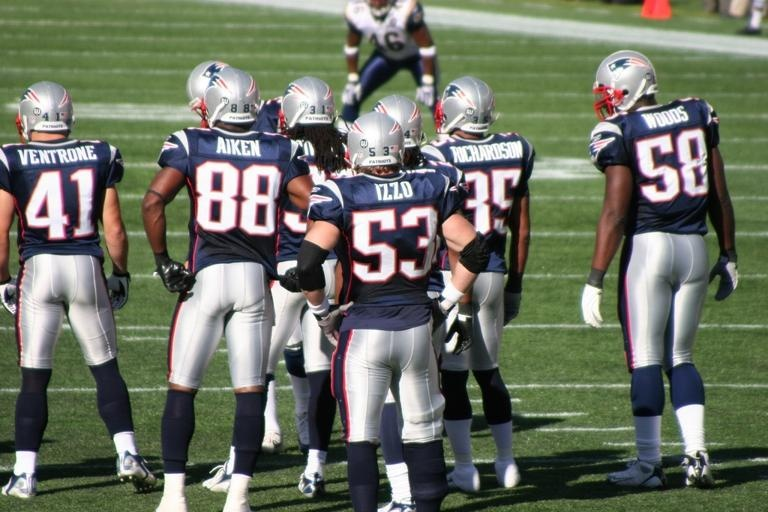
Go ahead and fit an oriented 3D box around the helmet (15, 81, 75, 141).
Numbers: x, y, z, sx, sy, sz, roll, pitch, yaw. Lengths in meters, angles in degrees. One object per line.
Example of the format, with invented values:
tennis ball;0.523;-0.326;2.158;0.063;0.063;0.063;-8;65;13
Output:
helmet;-2.341;-1.012;8.901;0.327;0.372;0.436;-3;14;-19

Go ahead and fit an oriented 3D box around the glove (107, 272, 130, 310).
glove;-1.890;0.234;9.235;0.167;0.275;0.071;6;10;2

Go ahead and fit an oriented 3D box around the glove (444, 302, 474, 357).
glove;0.513;0.494;8.659;0.219;0.346;0.093;8;-4;2

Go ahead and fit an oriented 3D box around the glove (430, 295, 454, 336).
glove;0.381;0.375;8.382;0.131;0.257;0.201;-1;6;3

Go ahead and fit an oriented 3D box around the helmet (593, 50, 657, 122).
helmet;1.711;-1.237;9.305;0.534;0.524;0.424;2;9;27

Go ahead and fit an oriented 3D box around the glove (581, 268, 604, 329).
glove;1.462;0.298;9.046;0.165;0.409;0.125;6;-5;38

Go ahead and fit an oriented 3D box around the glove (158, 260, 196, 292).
glove;-1.374;0.165;8.516;0.173;0.092;0.239;-9;42;-48

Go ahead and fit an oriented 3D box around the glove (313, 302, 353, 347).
glove;-0.319;0.442;8.403;0.222;0.130;0.294;-14;-21;-36
